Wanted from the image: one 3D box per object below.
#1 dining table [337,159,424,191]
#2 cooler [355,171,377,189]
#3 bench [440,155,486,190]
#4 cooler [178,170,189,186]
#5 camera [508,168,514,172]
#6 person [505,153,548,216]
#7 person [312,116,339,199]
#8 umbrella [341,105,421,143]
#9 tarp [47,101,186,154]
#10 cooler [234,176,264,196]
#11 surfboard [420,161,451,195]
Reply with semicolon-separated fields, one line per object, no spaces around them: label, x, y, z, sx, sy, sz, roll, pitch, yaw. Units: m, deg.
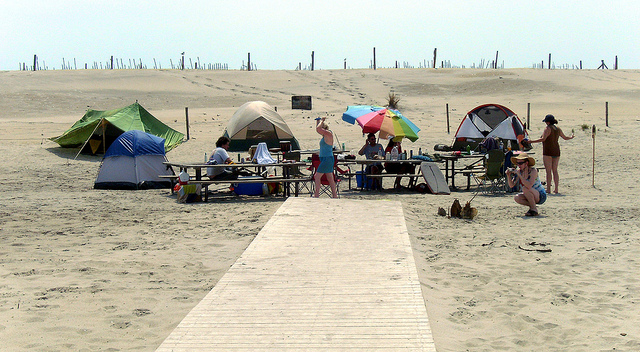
dining table;2.082;-0.079;32.516;2.831;1.162;1.030;-2;2;-3
cooler;1.681;0.172;33.163;0.647;0.390;0.552;2;4;8
bench;5.463;-0.163;34.464;1.744;0.733;1.531;10;16;38
cooler;-4.733;0.057;31.638;0.323;0.492;0.456;-3;3;-27
camera;6.454;-0.227;30.602;0.156;0.116;0.038;-2;4;-13
person;6.962;0.242;30.532;1.207;2.091;0.926;-1;3;12
person;0.181;-0.644;30.827;0.830;2.771;1.172;-2;3;1
umbrella;2.337;-2.231;33.503;2.724;0.835;2.855;29;24;36
tarp;-8.649;-2.344;39.619;6.479;1.455;5.310;-5;9;-24
cooler;-2.543;0.293;32.494;1.061;0.572;0.692;0;5;-3
surfboard;4.099;0.015;32.453;0.751;1.416;0.362;-22;-8;-24
